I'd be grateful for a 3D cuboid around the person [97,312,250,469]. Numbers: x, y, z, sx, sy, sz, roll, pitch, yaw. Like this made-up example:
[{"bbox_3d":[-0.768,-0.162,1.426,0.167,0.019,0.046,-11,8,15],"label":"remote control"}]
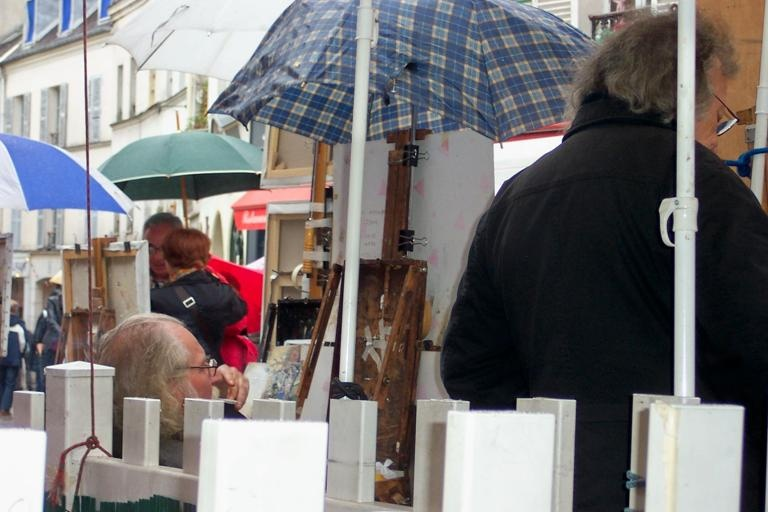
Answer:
[{"bbox_3d":[-1.188,0.727,9.543,0.745,0.872,1.362,-5,-8,31],"label":"person"}]
